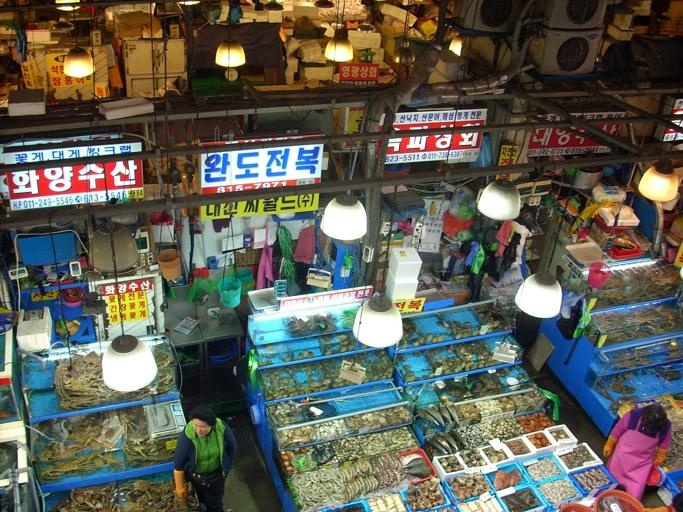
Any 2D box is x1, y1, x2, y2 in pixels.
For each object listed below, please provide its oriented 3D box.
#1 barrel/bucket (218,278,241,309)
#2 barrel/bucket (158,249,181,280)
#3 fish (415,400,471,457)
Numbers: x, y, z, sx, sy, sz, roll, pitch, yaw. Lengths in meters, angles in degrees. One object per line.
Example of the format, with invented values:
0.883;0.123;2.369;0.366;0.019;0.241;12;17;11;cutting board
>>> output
-1.800;0.571;8.639;0.345;0.327;0.259;-51;-23;-40;barrel/bucket
-2.541;0.110;7.927;0.304;0.296;0.317;-44;-38;-48;barrel/bucket
1.440;2.445;7.454;0.653;0.644;0.176;-7;-7;-22;fish
